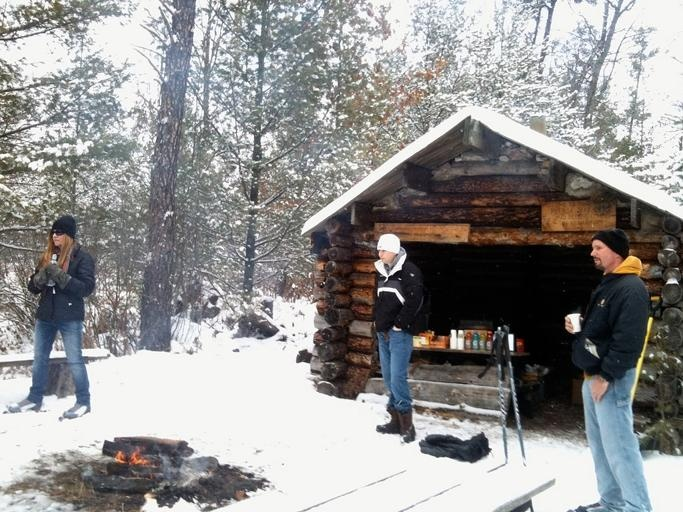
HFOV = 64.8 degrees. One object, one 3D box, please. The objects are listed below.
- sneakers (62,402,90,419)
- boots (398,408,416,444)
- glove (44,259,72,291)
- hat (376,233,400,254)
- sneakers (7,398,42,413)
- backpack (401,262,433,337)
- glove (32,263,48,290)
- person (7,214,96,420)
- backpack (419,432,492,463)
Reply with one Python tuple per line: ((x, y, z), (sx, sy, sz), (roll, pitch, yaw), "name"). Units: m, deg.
((-3.894, 2.299, 8.006), (0.171, 0.181, 0.455), (5, 3, 29), "sneakers")
((1.020, 2.583, 8.300), (0.291, 0.329, 0.435), (4, 2, 8), "boots")
((-4.245, 0.298, 8.044), (0.158, 0.400, 0.352), (-26, -4, 17), "glove")
((0.783, -0.197, 8.469), (0.259, 0.274, 0.357), (10, -7, 45), "hat")
((-4.699, 2.250, 8.041), (0.360, 0.152, 0.187), (12, -9, -17), "sneakers")
((1.221, 0.745, 8.386), (0.381, 1.118, 0.826), (-6, 14, 4), "backpack")
((-4.468, 0.312, 8.128), (0.120, 0.346, 0.261), (12, 22, -22), "glove")
((-4.238, 0.870, 8.175), (1.100, 2.958, 0.725), (4, 2, 6), "person")
((1.613, 2.705, 7.696), (0.973, 0.286, 0.535), (5, 2, 17), "backpack")
